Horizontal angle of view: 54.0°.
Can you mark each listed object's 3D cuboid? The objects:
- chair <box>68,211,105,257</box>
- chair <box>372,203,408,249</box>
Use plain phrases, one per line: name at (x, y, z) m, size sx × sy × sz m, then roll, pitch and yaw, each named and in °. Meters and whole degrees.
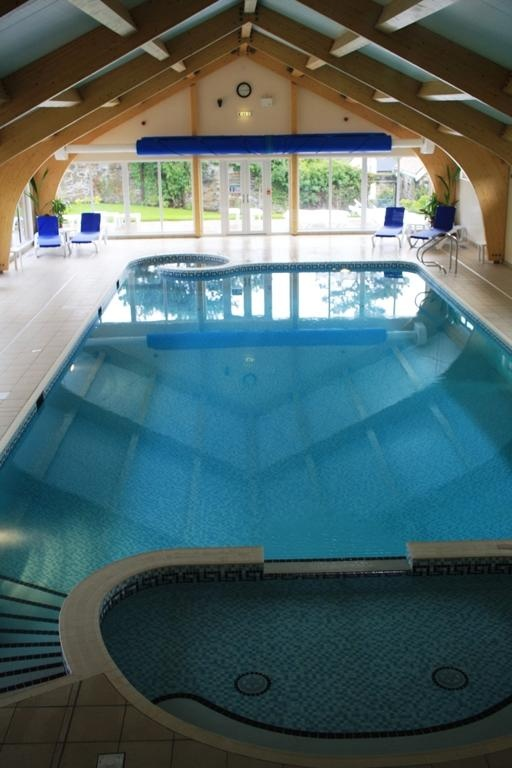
chair at (-5.155, -4.609, 15.385) m, size 0.928 × 1.287 × 2.040 m, roll -3°, pitch 11°, yaw -13°
chair at (4.050, -4.787, 15.153) m, size 0.826 × 1.059 × 1.721 m, roll 4°, pitch 32°, yaw 14°
